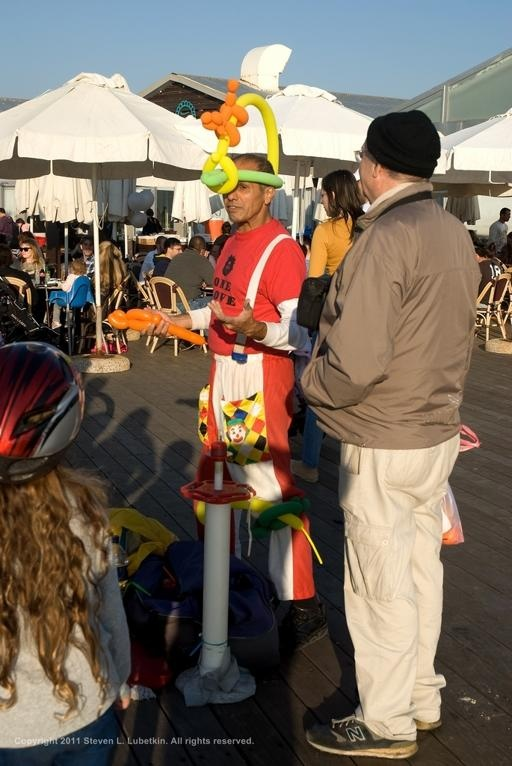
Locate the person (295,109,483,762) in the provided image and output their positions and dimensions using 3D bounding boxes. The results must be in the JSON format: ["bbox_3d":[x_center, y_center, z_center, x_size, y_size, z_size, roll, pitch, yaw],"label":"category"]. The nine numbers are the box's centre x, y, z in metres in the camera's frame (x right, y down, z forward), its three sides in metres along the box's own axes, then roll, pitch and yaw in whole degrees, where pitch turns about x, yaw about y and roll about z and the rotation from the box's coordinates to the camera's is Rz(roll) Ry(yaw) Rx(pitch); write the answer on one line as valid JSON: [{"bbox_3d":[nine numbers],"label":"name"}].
[{"bbox_3d":[0.371,0.172,1.709,0.504,1.839,0.332,2,10,-5],"label":"person"}]

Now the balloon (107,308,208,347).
[{"bbox_3d":[-0.371,-0.217,2.248,0.332,0.115,0.283,0,10,-14],"label":"balloon"}]

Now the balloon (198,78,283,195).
[{"bbox_3d":[-0.040,-0.950,2.348,0.292,0.459,0.494,3,10,2],"label":"balloon"}]

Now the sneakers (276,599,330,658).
[{"bbox_3d":[0.176,0.935,2.354,0.103,0.120,0.278,-5,4,36],"label":"sneakers"}]

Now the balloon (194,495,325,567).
[{"bbox_3d":[0.010,0.511,2.296,0.413,0.157,0.280,-6,39,-12],"label":"balloon"}]

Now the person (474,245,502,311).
[{"bbox_3d":[3.998,-1.797,10.460,0.450,1.209,0.397,-22,31,8],"label":"person"}]

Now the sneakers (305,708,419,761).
[{"bbox_3d":[0.304,1.005,1.824,0.343,0.132,0.119,3,4,9],"label":"sneakers"}]
